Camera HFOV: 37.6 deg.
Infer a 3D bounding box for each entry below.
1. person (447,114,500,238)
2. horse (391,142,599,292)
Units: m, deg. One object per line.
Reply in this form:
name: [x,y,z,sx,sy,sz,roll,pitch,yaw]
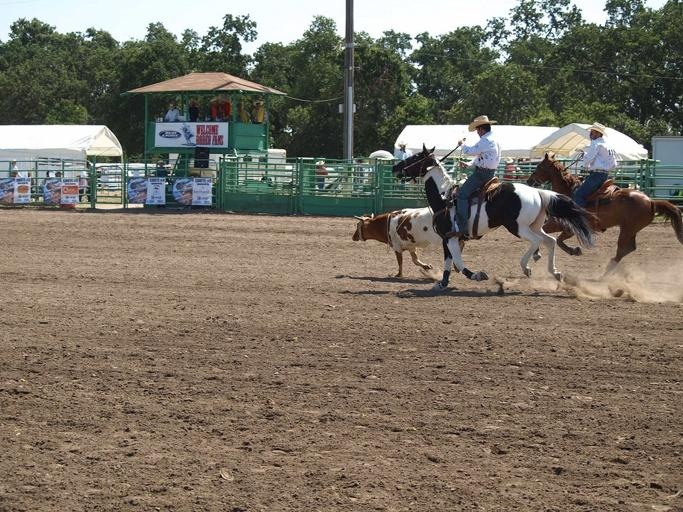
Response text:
person: [2.240,-1.317,16.909,0.801,2.087,0.779,1,3,7]
horse: [2.567,-0.646,17.101,3.725,2.299,0.833,0,3,34]
